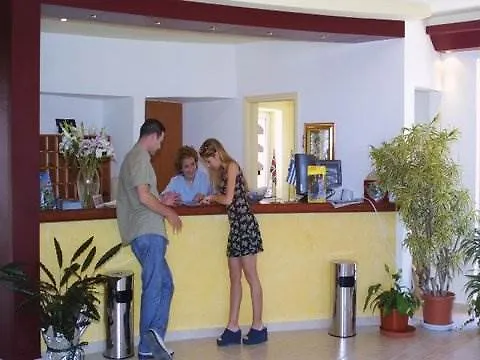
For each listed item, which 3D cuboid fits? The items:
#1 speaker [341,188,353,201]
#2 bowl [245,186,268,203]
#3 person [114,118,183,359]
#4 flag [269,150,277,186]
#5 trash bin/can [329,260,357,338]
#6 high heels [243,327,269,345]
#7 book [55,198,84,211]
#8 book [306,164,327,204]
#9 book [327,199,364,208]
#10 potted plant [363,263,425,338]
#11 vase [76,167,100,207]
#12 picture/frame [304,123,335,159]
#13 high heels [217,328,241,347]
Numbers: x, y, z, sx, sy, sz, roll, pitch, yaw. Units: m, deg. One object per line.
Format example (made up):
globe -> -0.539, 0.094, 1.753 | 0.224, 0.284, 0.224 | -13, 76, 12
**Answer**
speaker -> 1.300, 0.187, 5.340 | 0.080, 0.084, 0.146 | 13, 10, 11
bowl -> 0.198, 0.168, 4.915 | 0.178, 0.132, 0.168 | -2, -1, 0
person -> -0.852, 0.558, 4.187 | 0.601, 2.240, 0.365 | -2, 3, -15
flag -> 0.725, -0.272, 9.545 | 0.145, 0.729, 0.352 | -1, 3, 4
trash bin/can -> 1.114, 1.291, 4.812 | 0.296, 0.800, 0.197 | -1, 3, 10
high heels -> 0.163, 1.595, 4.537 | 0.233, 0.151, 0.134 | 2, -2, -14
book -> -1.661, 0.237, 4.280 | 0.281, 0.092, 0.173 | -2, 3, -4
book -> 0.863, 0.052, 5.012 | 0.199, 0.416, 0.194 | -1, 3, 12
book -> 1.238, 0.270, 5.063 | 0.513, 0.075, 0.177 | -3, 3, -22
potted plant -> 1.816, 1.297, 4.903 | 0.751, 0.843, 0.599 | -1, 3, -20
vase -> -1.508, 0.089, 4.384 | 0.205, 0.371, 0.114 | -2, 3, -21
picture/frame -> 1.179, -0.565, 6.412 | 0.536, 0.756, 0.071 | 0, -1, 31
high heels -> -0.113, 1.608, 4.536 | 0.233, 0.151, 0.134 | 2, -3, -10
